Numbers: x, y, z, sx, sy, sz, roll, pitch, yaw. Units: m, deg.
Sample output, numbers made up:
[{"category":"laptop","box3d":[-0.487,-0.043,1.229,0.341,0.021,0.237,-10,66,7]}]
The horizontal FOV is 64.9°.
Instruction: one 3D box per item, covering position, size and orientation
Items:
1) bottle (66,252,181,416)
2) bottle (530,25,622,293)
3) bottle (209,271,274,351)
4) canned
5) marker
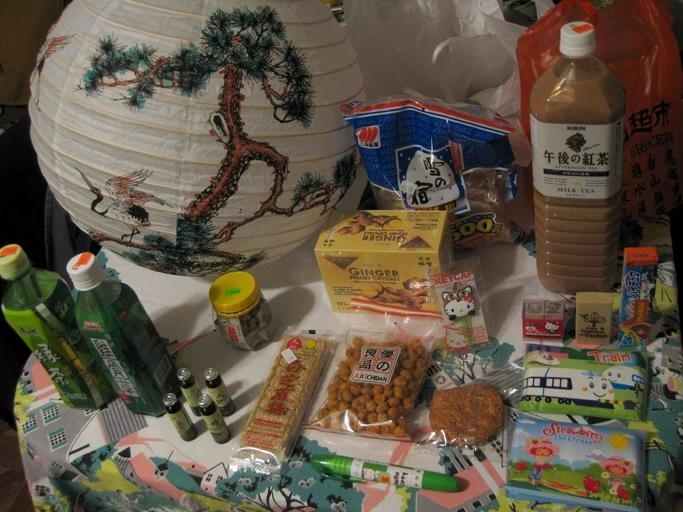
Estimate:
[{"category":"bottle","box3d":[-0.297,0.115,0.793,0.113,0.301,0.100,6,39,26]},{"category":"bottle","box3d":[0.345,-0.131,0.786,0.129,0.378,0.134,-10,26,5]},{"category":"bottle","box3d":[-0.161,0.095,0.881,0.077,0.135,0.074,1,34,0]},{"category":"canned","box3d":[-0.159,0.092,0.852,0.086,0.116,0.083,-9,41,-3]},{"category":"marker","box3d":[0.051,0.286,0.697,0.196,0.026,0.028,1,4,14]}]
